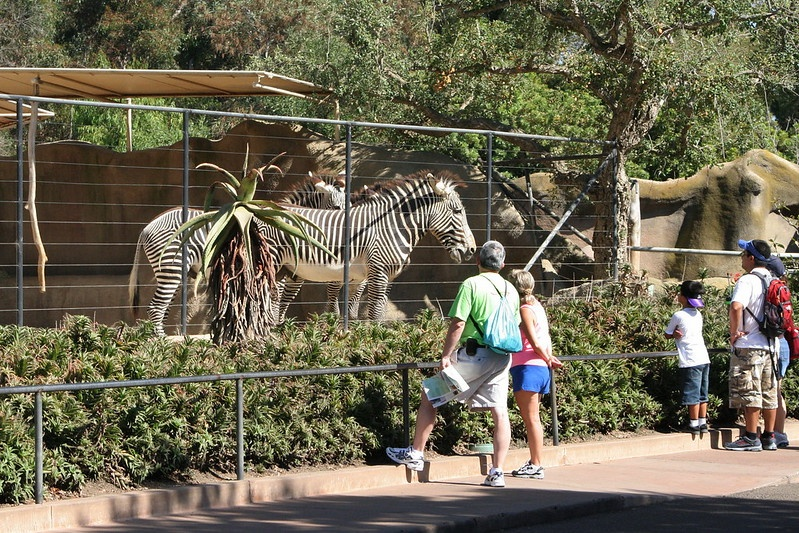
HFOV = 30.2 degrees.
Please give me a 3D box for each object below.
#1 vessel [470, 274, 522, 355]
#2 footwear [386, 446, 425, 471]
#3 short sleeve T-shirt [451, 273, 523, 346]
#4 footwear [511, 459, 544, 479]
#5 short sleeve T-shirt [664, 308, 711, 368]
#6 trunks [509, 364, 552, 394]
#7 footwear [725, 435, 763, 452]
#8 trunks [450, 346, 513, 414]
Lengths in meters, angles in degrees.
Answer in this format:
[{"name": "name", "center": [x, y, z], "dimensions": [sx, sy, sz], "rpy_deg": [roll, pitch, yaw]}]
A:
[{"name": "vessel", "center": [1.437, 0.691, 21.811], "dimensions": [0.724, 1.049, 0.804], "rpy_deg": [6, 6, 20]}, {"name": "footwear", "center": [0.121, 2.822, 21.952], "dimensions": [0.650, 0.305, 0.247], "rpy_deg": [18, -4, 16]}, {"name": "short sleeve T-shirt", "center": [1.351, 0.670, 21.775], "dimensions": [1.214, 1.090, 0.619], "rpy_deg": [8, -8, -22]}, {"name": "footwear", "center": [1.956, 3.049, 22.119], "dimensions": [0.530, 0.255, 0.200], "rpy_deg": [2, -3, 4]}, {"name": "short sleeve T-shirt", "center": [4.571, 1.069, 23.998], "dimensions": [0.515, 0.832, 0.582], "rpy_deg": [1, 15, 16]}, {"name": "trunks", "center": [1.965, 1.661, 22.034], "dimensions": [0.597, 0.413, 0.407], "rpy_deg": [5, 0, -39]}, {"name": "footwear", "center": [5.607, 2.850, 23.876], "dimensions": [0.577, 0.262, 0.236], "rpy_deg": [2, -7, 5]}, {"name": "trunks", "center": [1.187, 1.487, 21.833], "dimensions": [0.872, 1.166, 0.637], "rpy_deg": [4, 18, -9]}]
